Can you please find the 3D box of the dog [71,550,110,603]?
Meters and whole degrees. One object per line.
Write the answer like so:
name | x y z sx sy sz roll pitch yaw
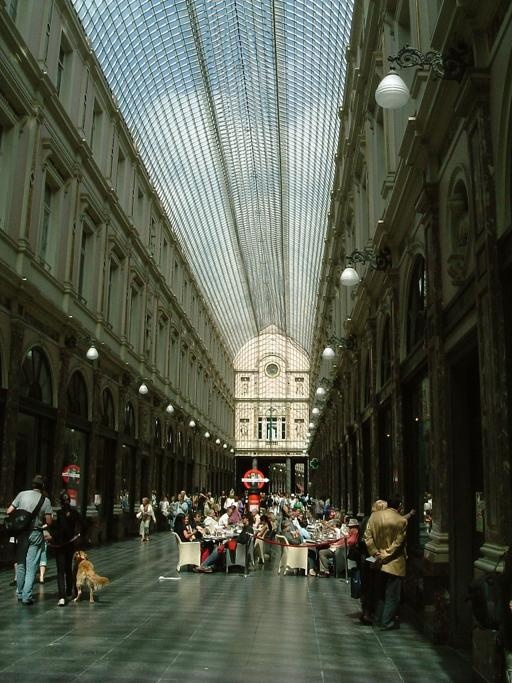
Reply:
dog | -2.730 3.730 8.513 0.227 0.707 0.912 21 -22 -38

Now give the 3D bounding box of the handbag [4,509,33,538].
handbag | -3.602 2.694 8.169 0.243 0.443 0.461 -1 -49 -17

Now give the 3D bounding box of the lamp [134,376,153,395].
lamp | -5.585 2.190 26.398 0.710 1.470 0.617 2 -4 1
